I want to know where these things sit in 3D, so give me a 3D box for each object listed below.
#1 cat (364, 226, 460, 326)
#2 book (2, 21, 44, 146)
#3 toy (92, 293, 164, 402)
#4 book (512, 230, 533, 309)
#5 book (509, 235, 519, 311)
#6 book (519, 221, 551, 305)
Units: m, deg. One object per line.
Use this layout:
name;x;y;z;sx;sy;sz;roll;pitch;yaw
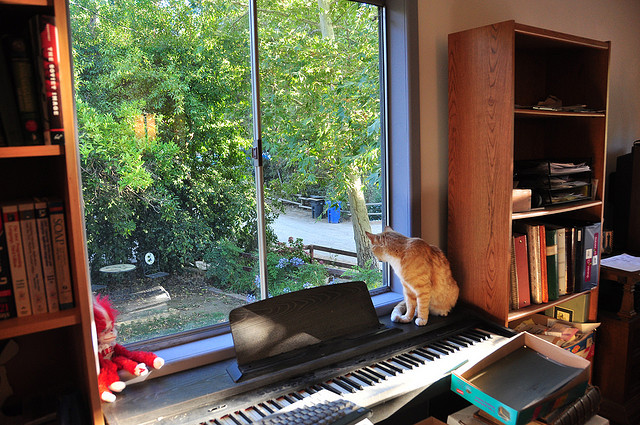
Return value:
cat;0.583;0.353;2.741;0.503;0.560;0.368;-11;2;-12
book;-1.131;-0.466;1.732;0.109;0.418;0.053;-10;10;-23
toy;-0.923;0.603;2.160;0.294;0.443;0.278;-11;10;-30
book;1.223;0.351;2.737;0.103;0.452;0.182;-1;10;26
book;1.137;0.366;2.666;0.042;0.437;0.159;0;11;33
book;1.327;0.323;2.789;0.096;0.395;0.381;-7;3;7
